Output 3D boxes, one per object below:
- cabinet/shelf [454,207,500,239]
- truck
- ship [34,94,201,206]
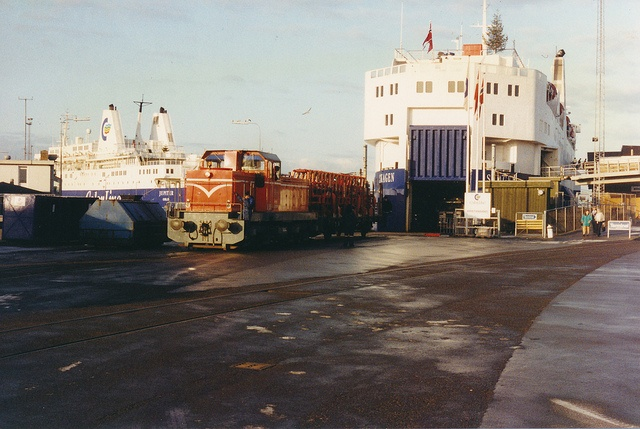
[{"bbox_3d":[9.842,0.816,45.183,3.113,1.724,3.362,-10,-15,37],"label":"cabinet/shelf"},{"bbox_3d":[-1.527,-0.411,39.988,3.819,5.183,20.898,-1,-2,23],"label":"truck"},{"bbox_3d":[-21.386,-7.437,85.559,9.454,12.114,32.415,-8,13,-37],"label":"ship"}]
